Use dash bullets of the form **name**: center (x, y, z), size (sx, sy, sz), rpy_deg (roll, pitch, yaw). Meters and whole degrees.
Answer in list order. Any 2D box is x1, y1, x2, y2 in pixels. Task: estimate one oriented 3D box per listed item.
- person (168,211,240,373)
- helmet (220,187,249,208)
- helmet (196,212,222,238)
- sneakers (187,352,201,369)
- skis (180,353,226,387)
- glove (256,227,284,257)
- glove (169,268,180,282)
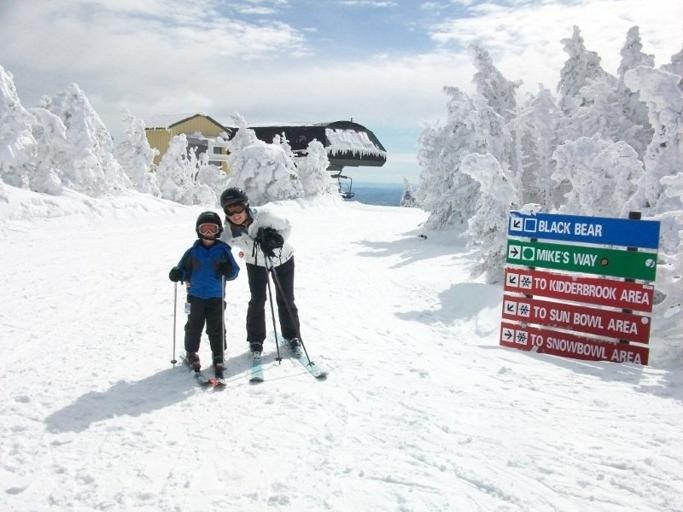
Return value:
- **person**: center (-1.878, 0.479, 7.720), size (0.845, 2.131, 0.441), rpy_deg (-4, 8, -18)
- **helmet**: center (-1.537, -0.864, 7.920), size (0.334, 0.323, 0.283), rpy_deg (-18, 22, -24)
- **helmet**: center (-1.809, -0.423, 7.750), size (0.323, 0.335, 0.375), rpy_deg (1, 28, -8)
- **sneakers**: center (-2.057, 1.453, 7.758), size (0.113, 0.156, 0.335), rpy_deg (4, 5, -31)
- **skis**: center (-1.964, 1.496, 7.800), size (0.224, 0.300, 1.271), rpy_deg (-3, 15, -31)
- **glove**: center (-0.982, -0.192, 8.052), size (0.398, 0.400, 0.172), rpy_deg (-36, -21, 5)
- **glove**: center (-2.260, 0.252, 7.605), size (0.127, 0.195, 0.233), rpy_deg (-4, 8, -17)
